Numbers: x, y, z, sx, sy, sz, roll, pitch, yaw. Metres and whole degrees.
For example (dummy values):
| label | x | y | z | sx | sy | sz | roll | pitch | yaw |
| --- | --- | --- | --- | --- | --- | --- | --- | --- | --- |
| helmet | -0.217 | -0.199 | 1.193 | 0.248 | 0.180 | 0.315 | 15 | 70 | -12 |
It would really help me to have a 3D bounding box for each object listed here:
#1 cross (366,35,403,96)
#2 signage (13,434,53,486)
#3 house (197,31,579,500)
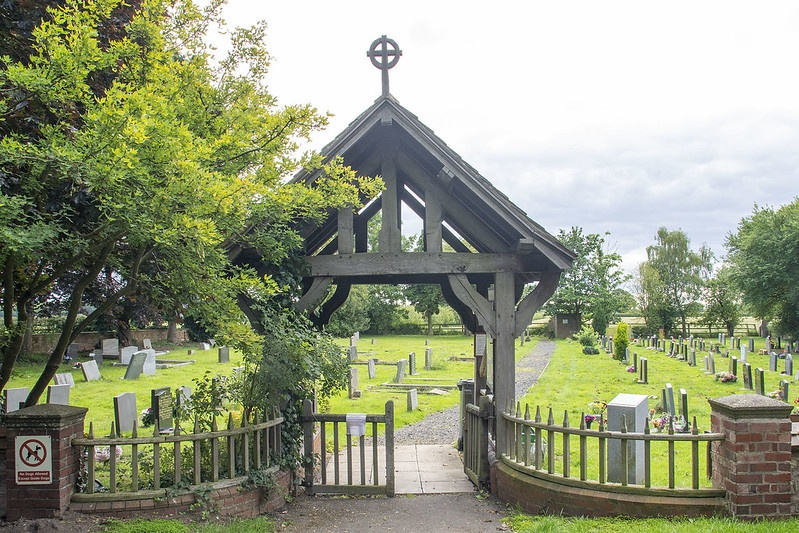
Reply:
| label | x | y | z | sx | sy | sz | roll | pitch | yaw |
| --- | --- | --- | --- | --- | --- | --- | --- | --- | --- |
| cross | -0.302 | -4.263 | 16.275 | 0.765 | 1.485 | 0.078 | -1 | 0 | 2 |
| signage | -6.495 | 3.435 | 13.319 | 0.608 | 0.839 | 0.219 | 0 | -12 | 0 |
| house | -0.652 | 1.034 | 16.944 | 9.920 | 12.039 | 5.659 | -1 | -4 | 2 |
